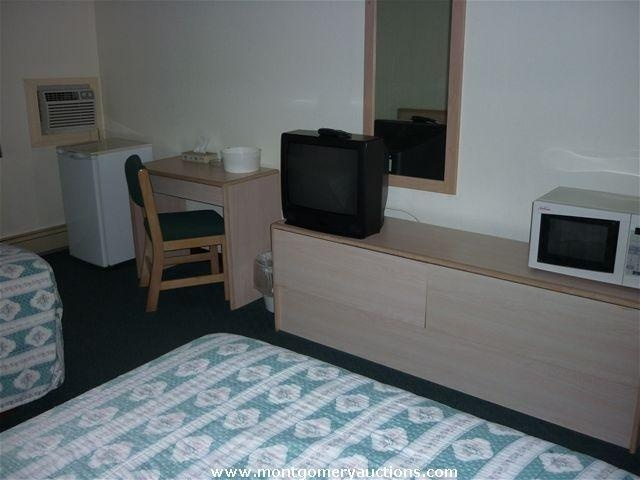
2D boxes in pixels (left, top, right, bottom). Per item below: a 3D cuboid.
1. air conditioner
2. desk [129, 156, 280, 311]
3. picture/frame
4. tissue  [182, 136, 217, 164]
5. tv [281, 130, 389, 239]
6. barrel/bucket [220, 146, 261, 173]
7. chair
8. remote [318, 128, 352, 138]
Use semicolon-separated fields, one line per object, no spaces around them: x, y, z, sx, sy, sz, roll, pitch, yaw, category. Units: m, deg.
-2.290;-1.161;4.196;0.177;0.351;0.519;18;24;18;air conditioner
-0.946;-0.094;3.450;1.061;0.968;0.852;10;21;28;desk
0.539;-0.840;2.745;0.612;1.104;0.136;14;24;41;picture/frame
-0.949;-0.716;3.708;0.266;0.177;0.146;13;23;29;tissue 
0.160;-0.374;2.823;0.534;0.615;0.669;-18;25;-37;tv
-0.563;-0.550;3.313;0.226;0.100;0.219;0;21;0;barrel/bucket
-1.020;-0.075;3.413;0.707;0.970;0.556;-3;18;-20;chair
0.085;-0.602;2.630;0.146;0.033;0.076;4;17;6;remote
